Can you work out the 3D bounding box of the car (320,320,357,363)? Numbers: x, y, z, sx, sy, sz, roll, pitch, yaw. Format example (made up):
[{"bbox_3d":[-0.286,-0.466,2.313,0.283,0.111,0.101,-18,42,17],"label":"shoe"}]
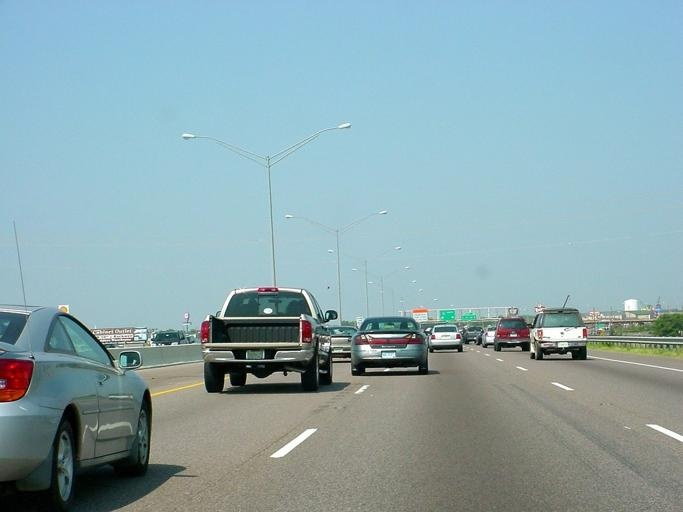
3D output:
[{"bbox_3d":[0.021,4.241,34.537,1.652,1.395,3.943,0,0,6],"label":"car"}]

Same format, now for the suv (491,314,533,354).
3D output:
[{"bbox_3d":[11.131,5.080,46.964,2.105,2.258,2.756,-3,-6,19],"label":"suv"}]

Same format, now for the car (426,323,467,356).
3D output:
[{"bbox_3d":[7.000,5.407,47.639,2.401,1.791,1.688,-6,-8,42],"label":"car"}]

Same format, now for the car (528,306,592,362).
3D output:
[{"bbox_3d":[10.021,3.559,33.047,2.223,2.336,1.333,-2,-5,11],"label":"car"}]

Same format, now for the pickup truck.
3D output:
[{"bbox_3d":[-1.884,1.969,17.781,2.383,2.007,4.402,-1,-3,6],"label":"pickup truck"}]

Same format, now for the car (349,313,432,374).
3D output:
[{"bbox_3d":[1.448,2.825,22.907,1.623,1.277,3.754,-1,-1,4],"label":"car"}]
